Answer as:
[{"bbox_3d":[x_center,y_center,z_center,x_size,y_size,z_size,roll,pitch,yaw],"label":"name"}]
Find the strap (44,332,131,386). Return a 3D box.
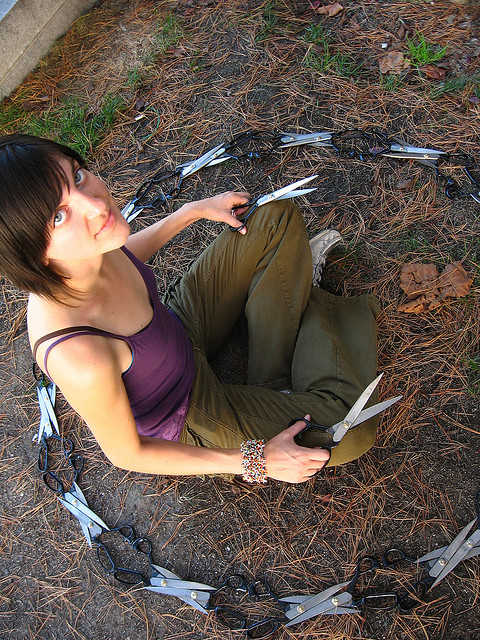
[{"bbox_3d":[-0.383,0.077,1.443,0.036,0.196,0.096,-42,46,51],"label":"strap"}]

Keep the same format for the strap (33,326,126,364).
[{"bbox_3d":[-0.414,0.067,1.384,0.150,0.079,0.026,3,52,-21],"label":"strap"}]

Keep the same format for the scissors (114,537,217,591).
[{"bbox_3d":[-0.265,0.936,2.097,0.030,0.447,0.184,-22,41,47],"label":"scissors"}]

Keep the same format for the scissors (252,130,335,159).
[{"bbox_3d":[0.244,-0.853,2.778,0.428,0.018,0.135,-7,71,10],"label":"scissors"}]

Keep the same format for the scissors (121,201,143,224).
[{"bbox_3d":[-0.530,-0.519,2.754,0.100,0.056,0.114,-44,44,-15],"label":"scissors"}]

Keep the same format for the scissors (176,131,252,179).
[{"bbox_3d":[-0.112,-0.795,2.783,0.422,0.069,0.043,-31,49,-1],"label":"scissors"}]

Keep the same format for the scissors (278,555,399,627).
[{"bbox_3d":[0.350,0.983,1.964,0.392,0.103,0.176,-33,42,-5],"label":"scissors"}]

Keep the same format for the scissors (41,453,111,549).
[{"bbox_3d":[-0.641,0.714,2.261,0.182,0.032,0.407,-33,61,-13],"label":"scissors"}]

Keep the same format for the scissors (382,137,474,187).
[{"bbox_3d":[0.852,-0.730,2.562,0.347,0.024,0.139,16,61,14],"label":"scissors"}]

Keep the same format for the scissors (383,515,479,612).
[{"bbox_3d":[0.666,0.816,1.989,0.424,0.102,0.174,-37,43,-9],"label":"scissors"}]

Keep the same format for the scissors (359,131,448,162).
[{"bbox_3d":[0.726,-0.782,2.575,0.394,0.050,0.136,6,64,18],"label":"scissors"}]

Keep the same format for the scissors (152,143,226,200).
[{"bbox_3d":[-0.211,-0.721,2.854,0.494,0.039,0.172,-33,70,-1],"label":"scissors"}]

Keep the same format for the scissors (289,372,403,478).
[{"bbox_3d":[0.310,0.333,1.827,0.464,0.045,0.171,-38,86,10],"label":"scissors"}]
